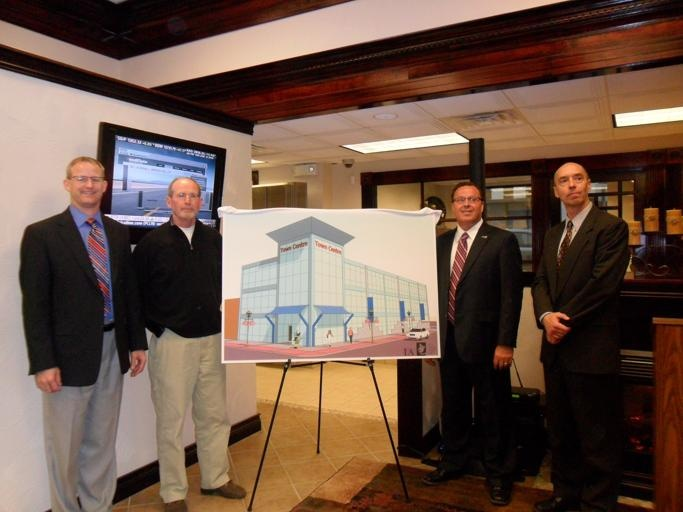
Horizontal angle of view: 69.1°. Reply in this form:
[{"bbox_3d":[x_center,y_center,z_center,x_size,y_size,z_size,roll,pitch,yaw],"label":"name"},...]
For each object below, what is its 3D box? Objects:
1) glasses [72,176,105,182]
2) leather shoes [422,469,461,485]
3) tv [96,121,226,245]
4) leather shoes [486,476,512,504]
[{"bbox_3d":[-1.542,-0.460,2.989,0.161,0.044,0.049,-1,1,-34],"label":"glasses"},{"bbox_3d":[0.717,1.573,3.582,0.274,0.094,0.098,5,-7,-21],"label":"leather shoes"},{"bbox_3d":[-1.278,-0.493,3.587,1.071,0.729,0.105,10,9,20],"label":"tv"},{"bbox_3d":[1.074,1.591,3.367,0.154,0.138,0.149,0,1,16],"label":"leather shoes"}]
